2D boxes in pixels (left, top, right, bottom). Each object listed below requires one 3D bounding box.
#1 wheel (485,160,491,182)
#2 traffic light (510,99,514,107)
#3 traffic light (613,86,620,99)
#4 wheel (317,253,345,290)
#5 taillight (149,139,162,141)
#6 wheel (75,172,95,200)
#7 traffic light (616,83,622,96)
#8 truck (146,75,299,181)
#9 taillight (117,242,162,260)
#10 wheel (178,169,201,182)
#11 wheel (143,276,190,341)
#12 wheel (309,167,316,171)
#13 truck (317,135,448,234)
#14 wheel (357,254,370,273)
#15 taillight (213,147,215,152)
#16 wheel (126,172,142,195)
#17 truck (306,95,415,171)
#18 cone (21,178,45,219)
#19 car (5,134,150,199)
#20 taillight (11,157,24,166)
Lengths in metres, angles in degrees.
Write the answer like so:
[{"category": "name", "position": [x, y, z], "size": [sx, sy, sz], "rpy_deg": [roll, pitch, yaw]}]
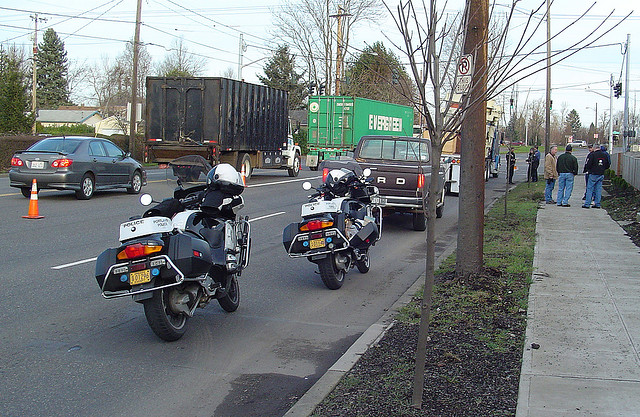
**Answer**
[{"category": "wheel", "position": [9.231, -2.095, 31.679], "size": [0.305, 1.015, 0.981], "rpy_deg": [2, -31, 11]}, {"category": "traffic light", "position": [12.961, -7.136, 38.925], "size": [0.090, 0.384, 5.686], "rpy_deg": [2, 11, 19]}, {"category": "traffic light", "position": [23.691, -9.292, 45.936], "size": [0.151, 0.699, 0.485], "rpy_deg": [-3, -2, 0]}, {"category": "wheel", "position": [0.232, 1.116, 10.369], "size": [0.543, 0.723, 0.249], "rpy_deg": [-6, 10, -31]}, {"category": "taillight", "position": [-7.095, -2.956, 24.913], "size": [0.469, 0.096, 0.122], "rpy_deg": [1, 2, 8]}, {"category": "wheel", "position": [-7.556, -0.702, 18.952], "size": [0.729, 0.802, 0.250], "rpy_deg": [1, 1, 36]}, {"category": "traffic light", "position": [23.783, -9.446, 45.817], "size": [0.289, 0.815, 0.749], "rpy_deg": [6, 12, 39]}, {"category": "truck", "position": [-4.362, -3.881, 29.783], "size": [3.335, 5.028, 10.712], "rpy_deg": [3, 7, 15]}, {"category": "taillight", "position": [-2.396, 0.557, 7.697], "size": [0.250, 0.148, 0.367], "rpy_deg": [-16, 4, 2]}, {"category": "wheel", "position": [-1.901, -0.461, 8.463], "size": [0.222, 0.204, 0.161], "rpy_deg": [7, -4, -43]}, {"category": "wheel", "position": [-2.104, 1.424, 7.877], "size": [0.312, 0.827, 0.554], "rpy_deg": [4, 10, 31]}, {"category": "wheel", "position": [-0.463, -2.617, 38.517], "size": [0.231, 0.212, 0.174], "rpy_deg": [9, -6, -34]}, {"category": "truck", "position": [1.727, -0.644, 14.880], "size": [2.040, 1.725, 3.759], "rpy_deg": [3, 9, 20]}, {"category": "wheel", "position": [0.846, 1.081, 11.308], "size": [0.138, 0.398, 0.384], "rpy_deg": [-7, 9, 24]}, {"category": "taillight", "position": [-4.486, -2.466, 24.369], "size": [0.090, 0.182, 0.049], "rpy_deg": [4, 10, 27]}, {"category": "wheel", "position": [-6.742, -0.912, 20.817], "size": [0.277, 0.862, 0.824], "rpy_deg": [-4, 3, 25]}, {"category": "truck", "position": [3.092, -5.050, 39.096], "size": [2.823, 4.998, 9.974], "rpy_deg": [7, 11, 29]}, {"category": "cone", "position": [-7.668, -0.239, 15.348], "size": [0.524, 0.953, 0.995], "rpy_deg": [-5, 10, -26]}, {"category": "car", "position": [-7.978, -1.426, 19.681], "size": [2.058, 1.676, 4.749], "rpy_deg": [3, 9, 24]}, {"category": "taillight", "position": [-9.587, -1.459, 18.338], "size": [0.262, 0.149, 0.365], "rpy_deg": [0, -1, -8]}]
